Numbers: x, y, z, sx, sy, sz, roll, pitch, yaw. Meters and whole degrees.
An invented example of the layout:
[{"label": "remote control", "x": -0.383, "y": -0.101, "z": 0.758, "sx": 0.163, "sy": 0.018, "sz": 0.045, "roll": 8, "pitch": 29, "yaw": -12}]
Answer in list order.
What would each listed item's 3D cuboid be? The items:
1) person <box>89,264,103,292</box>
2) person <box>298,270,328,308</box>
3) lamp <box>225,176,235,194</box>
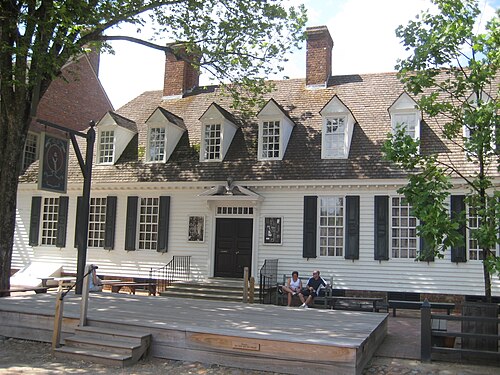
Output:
[{"label": "person", "x": -5.167, "y": 3.000, "z": 16.967, "sx": 0.401, "sy": 0.855, "sz": 0.609, "roll": 16, "pitch": 19, "yaw": 42}, {"label": "person", "x": 2.114, "y": 3.449, "z": 17.213, "sx": 0.845, "sy": 1.208, "sz": 0.945, "roll": 8, "pitch": 1, "yaw": 36}, {"label": "lamp", "x": -0.763, "y": -0.085, "z": 19.805, "sx": 0.316, "sy": 0.696, "sz": 0.296, "roll": 1, "pitch": 4, "yaw": -4}]
